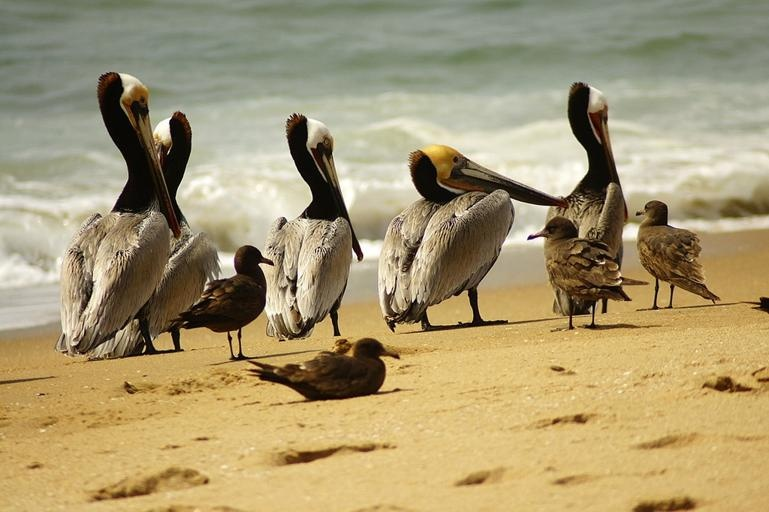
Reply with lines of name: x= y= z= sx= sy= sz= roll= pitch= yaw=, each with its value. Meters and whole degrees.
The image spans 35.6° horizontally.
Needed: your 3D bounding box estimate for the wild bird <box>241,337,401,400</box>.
wild bird: x=-0.743 y=1.637 z=17.157 sx=1.892 sy=0.740 sz=0.490 roll=-6 pitch=16 yaw=-6
